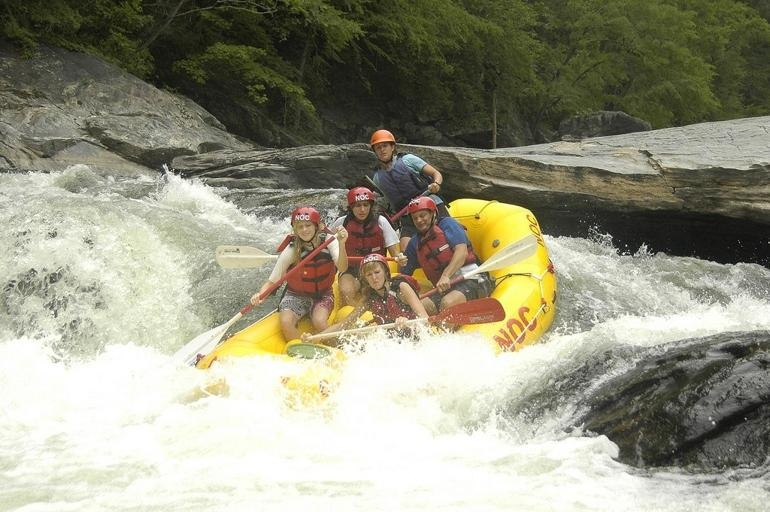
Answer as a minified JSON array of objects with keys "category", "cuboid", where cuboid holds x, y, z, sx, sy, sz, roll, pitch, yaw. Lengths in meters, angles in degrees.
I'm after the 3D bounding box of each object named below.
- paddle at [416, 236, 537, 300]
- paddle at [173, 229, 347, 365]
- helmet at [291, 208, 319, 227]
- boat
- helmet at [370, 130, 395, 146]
[{"category":"paddle","cuboid":[1.078,0.159,7.686,1.448,0.209,0.122,-26,11,-6]},{"category":"paddle","cuboid":[-1.487,0.547,7.811,2.444,0.515,0.145,-37,9,-8]},{"category":"helmet","cuboid":[-0.922,-0.456,7.590,0.201,0.199,0.261,-1,-34,20]},{"category":"boat","cuboid":[0.796,0.626,7.296,2.106,0.794,3.468,15,39,44]},{"category":"helmet","cuboid":[-0.027,-1.598,8.825,0.286,0.185,0.362,-4,-13,4]}]
